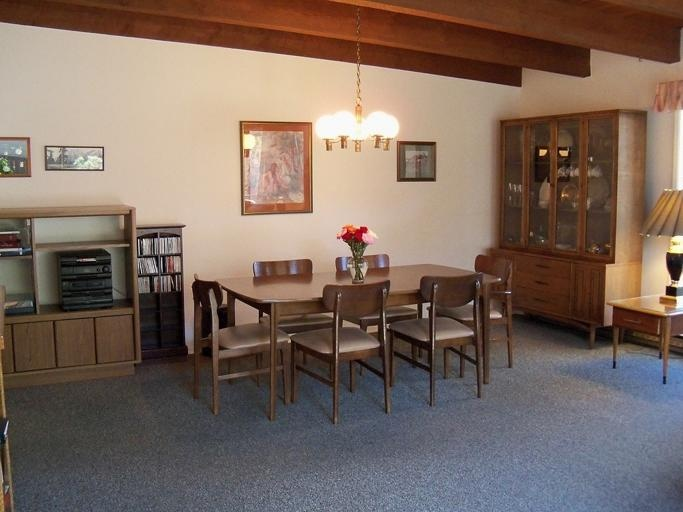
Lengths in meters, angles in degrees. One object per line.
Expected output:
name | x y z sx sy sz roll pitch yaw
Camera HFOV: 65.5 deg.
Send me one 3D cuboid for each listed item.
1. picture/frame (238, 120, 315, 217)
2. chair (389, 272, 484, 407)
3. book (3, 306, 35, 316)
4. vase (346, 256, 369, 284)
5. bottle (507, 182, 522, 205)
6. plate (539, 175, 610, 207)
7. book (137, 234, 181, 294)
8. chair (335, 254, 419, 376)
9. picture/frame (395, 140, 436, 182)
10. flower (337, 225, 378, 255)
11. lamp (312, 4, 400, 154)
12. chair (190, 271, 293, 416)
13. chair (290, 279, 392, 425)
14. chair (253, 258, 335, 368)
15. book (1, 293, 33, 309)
picture/frame | -0.744 -0.971 5.712 1.005 1.221 0.052 -2 4 -22
chair | 0.787 0.652 4.460 0.789 1.027 0.544 0 11 4
book | -2.818 0.470 4.644 0.222 0.071 0.083 -6 12 -26
vase | 0.145 0.132 4.570 0.196 0.248 0.191 3 0 -24
bottle | 2.130 -0.778 6.552 0.040 0.359 0.273 0 1 -26
plate | 2.581 -0.744 5.833 0.061 0.399 0.803 -7 13 -32
book | -1.790 0.052 5.141 0.508 0.761 0.216 -3 6 -30
chair | 0.282 0.378 5.317 0.761 1.187 0.754 -3 11 -23
picture/frame | 0.852 -1.143 6.339 0.484 0.434 0.039 -3 6 -20
flower | 0.161 -0.156 4.581 0.292 0.310 0.297 -2 5 -33
lamp | 0.094 -1.676 5.157 0.936 1.301 2.200 1 11 6
chair | -1.067 0.643 4.753 1.062 1.526 0.895 -3 8 -22
chair | -0.023 0.680 4.272 0.573 1.048 0.833 -10 15 -42
chair | -0.486 0.381 5.028 0.678 1.084 0.695 0 0 -22
book | -2.899 0.393 4.778 0.214 0.073 0.291 -7 13 -31
